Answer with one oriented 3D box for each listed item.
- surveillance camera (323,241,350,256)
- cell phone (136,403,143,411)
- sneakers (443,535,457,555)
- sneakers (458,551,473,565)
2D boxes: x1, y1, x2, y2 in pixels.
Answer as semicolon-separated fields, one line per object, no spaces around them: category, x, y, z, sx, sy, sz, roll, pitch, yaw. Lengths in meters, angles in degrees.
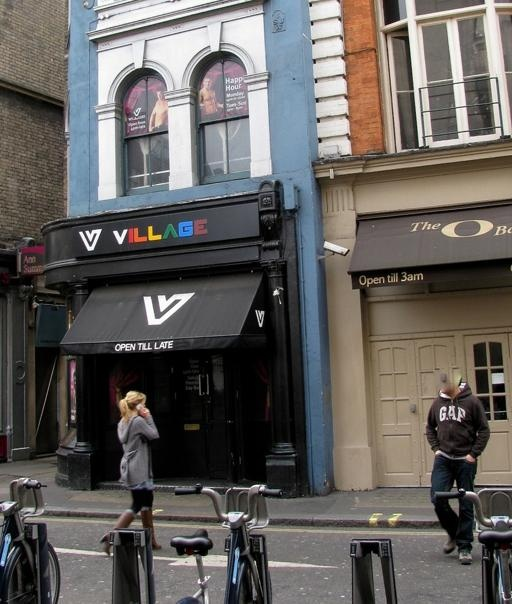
surveillance camera;1.222;-0.841;11.308;0.406;0.279;0.455;-3;-5;7
cell phone;-1.193;1.079;7.590;0.045;0.067;0.061;0;2;15
sneakers;1.875;2.343;7.199;0.072;0.172;0.229;-2;18;22
sneakers;1.902;2.336;6.758;0.077;0.052;0.139;-1;17;6
